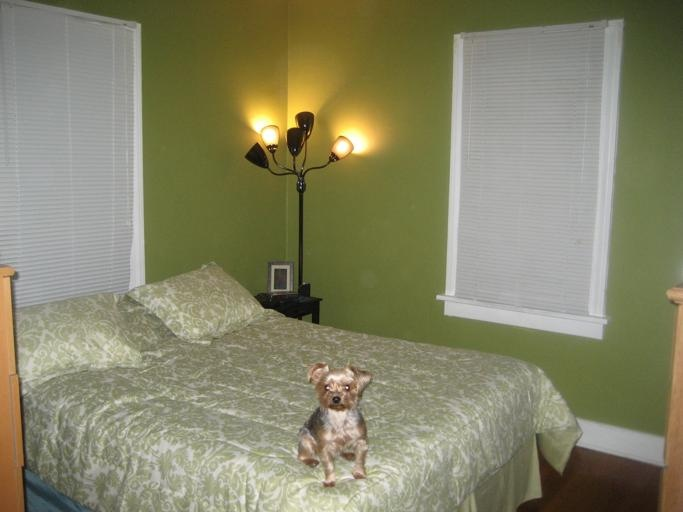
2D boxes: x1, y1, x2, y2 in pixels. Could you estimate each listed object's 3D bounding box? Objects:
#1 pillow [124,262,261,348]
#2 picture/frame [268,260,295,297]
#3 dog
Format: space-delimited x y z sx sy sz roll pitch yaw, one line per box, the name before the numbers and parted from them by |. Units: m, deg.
pillow | -0.977 0.291 3.562 0.507 0.170 0.538 36 31 21
picture/frame | -0.523 0.202 4.645 0.214 0.323 0.032 2 -32 -8
dog | -0.030 0.667 2.261 0.269 0.513 0.471 -4 2 -15
